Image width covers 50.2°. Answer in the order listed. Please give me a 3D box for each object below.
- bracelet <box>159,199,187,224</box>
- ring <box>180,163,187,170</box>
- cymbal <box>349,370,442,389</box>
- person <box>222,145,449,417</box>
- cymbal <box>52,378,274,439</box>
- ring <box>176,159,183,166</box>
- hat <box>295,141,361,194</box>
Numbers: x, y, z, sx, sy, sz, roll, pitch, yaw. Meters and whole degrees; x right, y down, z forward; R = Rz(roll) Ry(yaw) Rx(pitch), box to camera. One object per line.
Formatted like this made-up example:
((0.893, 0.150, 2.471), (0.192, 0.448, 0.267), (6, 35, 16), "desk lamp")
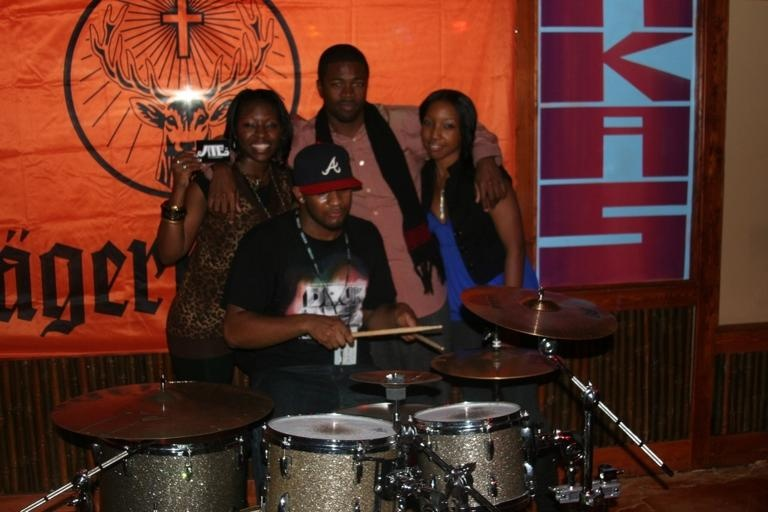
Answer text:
((-1.332, -0.278, 5.158), (0.137, 0.095, 0.137), (12, 6, 34), "bracelet")
((-1.258, -0.561, 5.141), (0.035, 0.033, 0.010), (1, -14, -7), "ring")
((0.066, 0.699, 4.744), (0.403, 0.069, 0.381), (-7, 7, -42), "cymbal")
((-0.416, 0.128, 4.988), (1.122, 1.622, 0.506), (-4, 6, -11), "person")
((-1.279, 0.837, 4.771), (1.150, 0.186, 1.129), (1, 3, 27), "cymbal")
((-1.284, -0.587, 5.148), (0.030, 0.029, 0.007), (-2, -31, -3), "ring")
((-0.346, -0.530, 5.023), (0.292, 0.210, 0.375), (-8, 9, -34), "hat")
